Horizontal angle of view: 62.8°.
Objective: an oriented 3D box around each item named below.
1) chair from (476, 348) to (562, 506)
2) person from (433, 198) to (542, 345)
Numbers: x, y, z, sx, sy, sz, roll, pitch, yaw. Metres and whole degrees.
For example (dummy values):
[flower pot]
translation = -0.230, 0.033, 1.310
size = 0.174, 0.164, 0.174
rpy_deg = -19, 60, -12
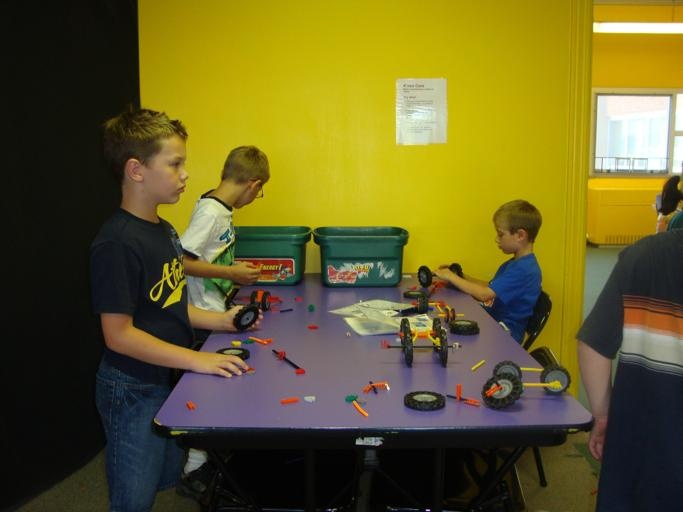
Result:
[chair]
translation = 0.680, 0.674, 2.174
size = 0.349, 0.200, 0.783
rpy_deg = -4, 15, 6
[person]
translation = 0.859, 0.297, 3.229
size = 0.464, 1.217, 0.447
rpy_deg = -7, 17, -22
